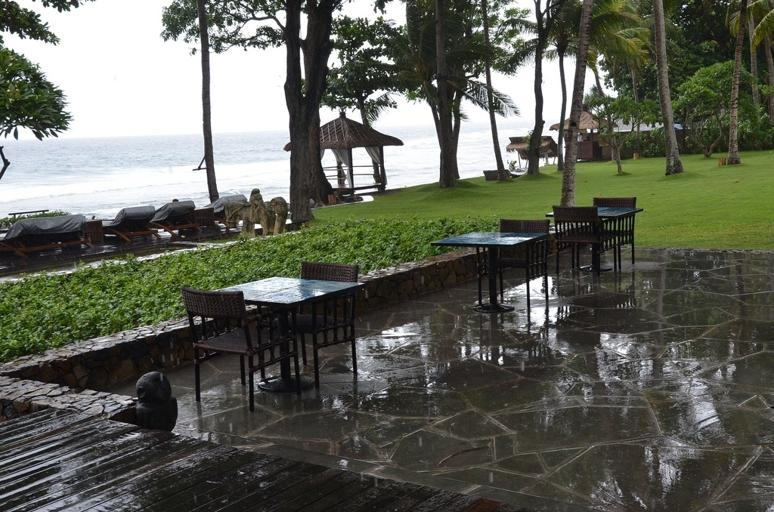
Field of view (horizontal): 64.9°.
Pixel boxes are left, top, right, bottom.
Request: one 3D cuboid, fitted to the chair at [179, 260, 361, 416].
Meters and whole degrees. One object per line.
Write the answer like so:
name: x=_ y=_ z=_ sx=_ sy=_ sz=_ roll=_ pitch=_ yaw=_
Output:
chair: x=-1.188 y=0.816 z=7.386 sx=1.526 sy=1.271 sz=2.334 roll=5 pitch=10 yaw=33
